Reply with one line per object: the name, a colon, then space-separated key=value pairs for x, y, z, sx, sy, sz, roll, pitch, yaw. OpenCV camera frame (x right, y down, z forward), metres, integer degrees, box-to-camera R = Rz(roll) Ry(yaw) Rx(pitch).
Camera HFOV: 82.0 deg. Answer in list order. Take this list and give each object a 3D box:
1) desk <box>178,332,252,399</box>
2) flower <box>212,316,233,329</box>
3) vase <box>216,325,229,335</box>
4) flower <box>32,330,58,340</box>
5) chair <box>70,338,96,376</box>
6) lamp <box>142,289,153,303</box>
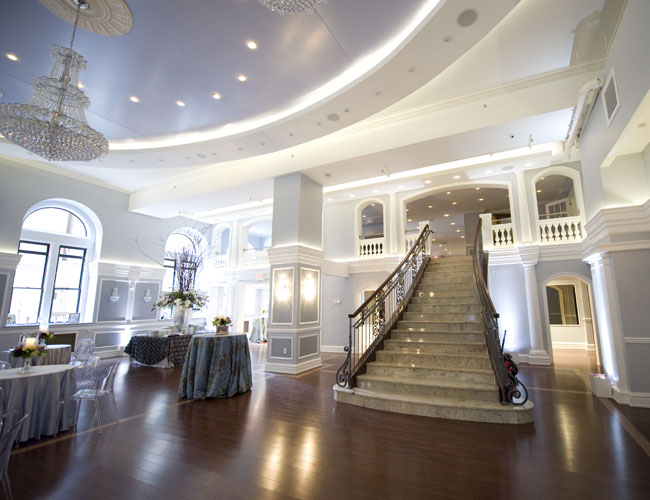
desk: x=-2.272 y=2.367 z=7.701 sx=1.090 sy=1.141 sz=1.428 roll=-7 pitch=-14 yaw=29
flower: x=-2.140 y=1.497 z=7.782 sx=0.277 sy=0.220 sz=0.283 roll=-7 pitch=-8 yaw=40
vase: x=-2.115 y=1.651 z=7.733 sx=0.172 sy=0.141 sz=0.183 roll=-2 pitch=-11 yaw=14
flower: x=-5.521 y=1.688 z=7.471 sx=0.282 sy=0.139 sz=0.286 roll=7 pitch=3 yaw=38
chair: x=-5.518 y=2.442 z=8.302 sx=0.620 sy=0.857 sz=0.631 roll=9 pitch=-13 yaw=-35
lamp: x=-6.276 y=1.634 z=13.254 sx=0.333 sy=0.524 sz=0.363 roll=-5 pitch=-8 yaw=15
